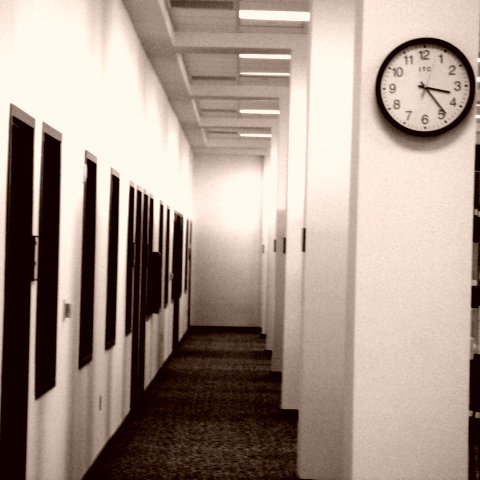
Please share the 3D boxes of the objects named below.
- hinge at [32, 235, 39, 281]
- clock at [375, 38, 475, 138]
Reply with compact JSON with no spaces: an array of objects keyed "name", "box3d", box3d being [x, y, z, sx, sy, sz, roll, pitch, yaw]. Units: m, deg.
[{"name":"hinge","box3d":[-1.135,0.099,2.903,0.028,0.249,0.138,2,-3,-14]},{"name":"clock","box3d":[1.032,-0.832,2.842,0.414,0.557,0.040,0,-2,3]}]
